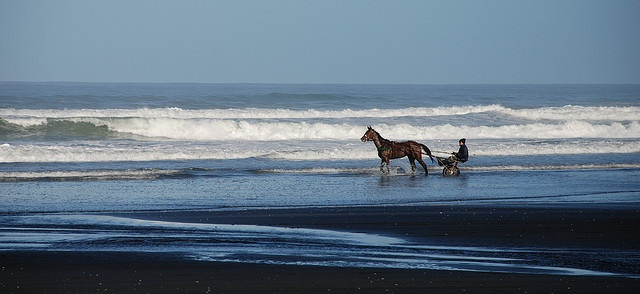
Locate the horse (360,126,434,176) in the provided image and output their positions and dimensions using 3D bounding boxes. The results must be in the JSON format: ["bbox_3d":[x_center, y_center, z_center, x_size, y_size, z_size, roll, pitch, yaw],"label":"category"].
[{"bbox_3d":[6.641,0.089,67.397,9.255,3.840,1.956,1,-3,-4],"label":"horse"}]

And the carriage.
[{"bbox_3d":[6.090,0.242,67.731,6.050,3.495,1.891,-2,5,4],"label":"carriage"}]
